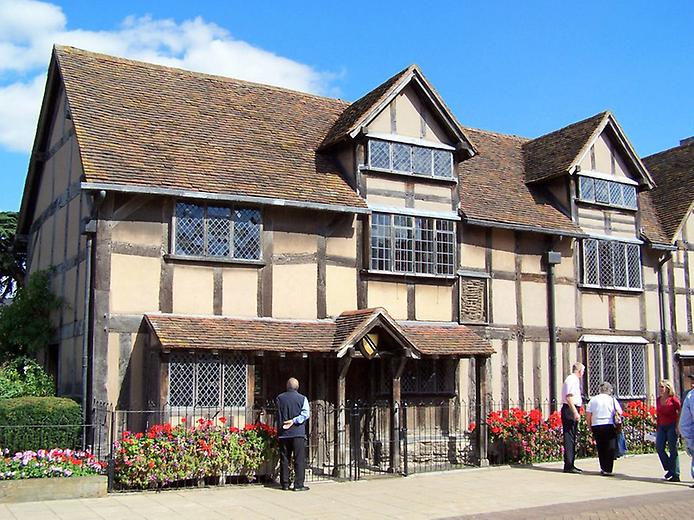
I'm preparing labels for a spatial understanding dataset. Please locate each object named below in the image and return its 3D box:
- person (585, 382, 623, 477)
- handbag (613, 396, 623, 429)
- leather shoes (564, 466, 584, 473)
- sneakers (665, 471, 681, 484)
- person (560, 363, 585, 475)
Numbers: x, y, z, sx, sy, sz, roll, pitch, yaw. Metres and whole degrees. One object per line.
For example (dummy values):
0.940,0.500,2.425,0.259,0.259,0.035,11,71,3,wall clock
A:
6.174,4.013,18.665,0.782,2.151,0.638,-4,-14,18,person
6.442,3.627,18.582,0.167,0.697,0.383,-6,-15,26,handbag
5.597,5.133,19.228,0.481,0.240,0.173,-4,-3,-4,leather shoes
7.491,4.981,17.953,0.334,0.167,0.162,2,-3,-37,sneakers
5.532,3.833,19.042,0.536,2.575,1.359,-3,-14,15,person
